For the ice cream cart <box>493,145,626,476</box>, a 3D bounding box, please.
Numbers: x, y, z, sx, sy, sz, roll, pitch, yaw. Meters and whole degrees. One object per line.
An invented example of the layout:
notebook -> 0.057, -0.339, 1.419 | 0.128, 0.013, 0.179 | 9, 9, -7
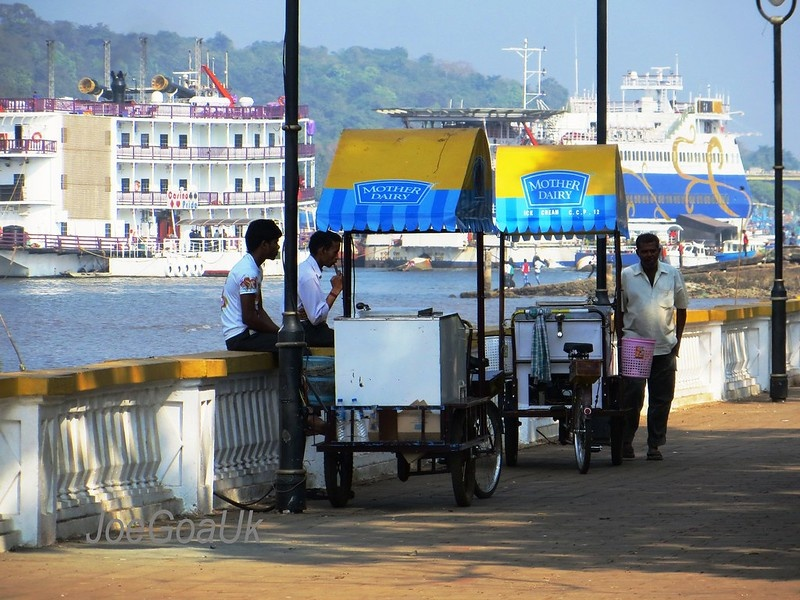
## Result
ice cream cart -> 1.890, 0.049, 24.268 | 1.588, 3.833, 3.874 | -2, 2, 0

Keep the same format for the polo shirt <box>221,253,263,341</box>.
polo shirt -> -1.718, 0.015, 21.229 | 0.431, 0.947, 0.345 | 3, 8, 11

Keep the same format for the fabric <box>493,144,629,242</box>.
fabric -> 1.810, -1.231, 23.112 | 1.187, 0.757, 1.196 | -1, -4, 6

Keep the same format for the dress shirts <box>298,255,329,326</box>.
dress shirts -> -0.982, -0.038, 21.864 | 0.461, 0.673, 0.811 | 0, 1, -4

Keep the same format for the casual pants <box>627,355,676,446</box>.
casual pants -> 3.001, 1.173, 23.652 | 0.331, 1.132, 0.516 | -3, -1, 4

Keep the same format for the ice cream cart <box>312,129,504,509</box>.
ice cream cart -> 0.074, 0.199, 21.122 | 1.799, 3.931, 2.166 | 6, 10, 31

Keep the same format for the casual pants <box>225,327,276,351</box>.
casual pants -> -1.578, 0.455, 21.278 | 0.431, 0.145, 0.258 | -2, -4, 5

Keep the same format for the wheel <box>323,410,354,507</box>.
wheel -> -0.656, 1.668, 20.823 | 0.311, 1.068, 0.587 | 1, 8, -2

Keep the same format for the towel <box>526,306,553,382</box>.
towel -> 1.664, 0.595, 22.645 | 0.268, 0.904, 0.312 | 9, -18, -4

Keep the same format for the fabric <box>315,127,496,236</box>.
fabric -> 0.164, -1.298, 21.673 | 1.671, 0.952, 1.732 | 4, 11, 24

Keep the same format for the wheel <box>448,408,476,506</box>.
wheel -> 0.638, 1.661, 20.780 | 0.181, 1.038, 0.557 | 5, 9, 27
